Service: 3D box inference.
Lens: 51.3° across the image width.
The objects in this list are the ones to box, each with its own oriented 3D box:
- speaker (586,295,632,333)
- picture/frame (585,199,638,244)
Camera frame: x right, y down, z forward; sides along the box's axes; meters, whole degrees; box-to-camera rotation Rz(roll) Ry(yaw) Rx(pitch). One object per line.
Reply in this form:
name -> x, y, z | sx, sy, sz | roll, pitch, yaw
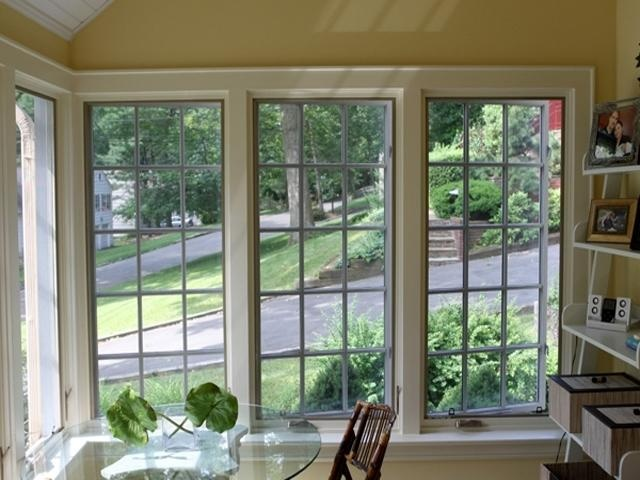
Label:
speaker -> 1.640, 0.418, 3.818 | 0.306, 0.307, 0.166 | 0, -4, 27
picture/frame -> 1.647, -0.102, 3.757 | 0.024, 0.253, 0.234 | 7, -4, -42
